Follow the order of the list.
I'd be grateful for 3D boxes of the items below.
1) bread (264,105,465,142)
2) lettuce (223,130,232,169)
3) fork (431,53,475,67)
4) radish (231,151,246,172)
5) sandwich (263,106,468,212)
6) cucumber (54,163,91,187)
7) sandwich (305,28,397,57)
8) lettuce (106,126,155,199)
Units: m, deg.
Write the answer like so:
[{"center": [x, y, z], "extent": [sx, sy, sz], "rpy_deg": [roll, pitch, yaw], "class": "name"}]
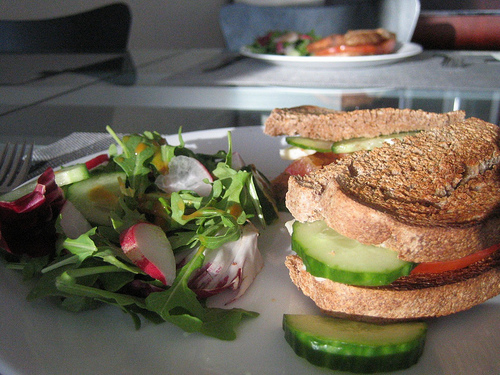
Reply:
[{"center": [0.259, -0.221, 1.433], "extent": [0.611, 0.093, 0.381], "rpy_deg": [-10, 12, -26], "class": "bread"}, {"center": [-0.051, -0.095, 1.166], "extent": [0.013, 0.082, 0.031], "rpy_deg": [8, 24, 36], "class": "lettuce"}, {"center": [0.651, -0.407, 1.519], "extent": [0.060, 0.009, 0.126], "rpy_deg": [-25, 29, -11], "class": "fork"}, {"center": [-0.034, -0.067, 1.272], "extent": [0.036, 0.035, 0.061], "rpy_deg": [15, 30, -15], "class": "radish"}, {"center": [0.282, -0.130, 1.293], "extent": [0.373, 0.093, 0.358], "rpy_deg": [-11, 28, 13], "class": "sandwich"}, {"center": [-0.415, -0.029, 1.099], "extent": [0.058, 0.020, 0.057], "rpy_deg": [-13, 17, 20], "class": "cucumber"}, {"center": [0.463, -0.665, 2.202], "extent": [0.388, 0.114, 0.297], "rpy_deg": [-2, 14, -4], "class": "sandwich"}, {"center": [-0.280, -0.071, 1.119], "extent": [0.099, 0.187, 0.027], "rpy_deg": [-24, -9, -18], "class": "lettuce"}]
